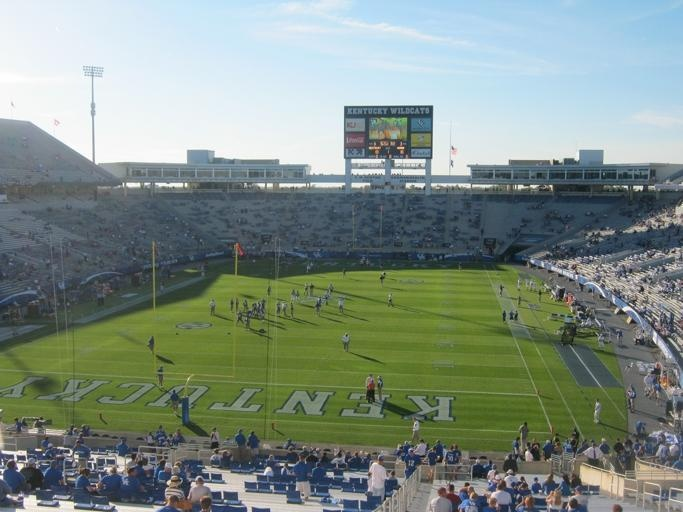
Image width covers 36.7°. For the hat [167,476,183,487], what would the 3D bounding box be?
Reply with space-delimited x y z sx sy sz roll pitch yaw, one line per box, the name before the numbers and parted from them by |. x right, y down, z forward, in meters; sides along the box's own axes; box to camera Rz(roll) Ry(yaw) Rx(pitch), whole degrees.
hat | -6.064 8.224 37.728 0.735 0.214 0.745 10 -2 0
